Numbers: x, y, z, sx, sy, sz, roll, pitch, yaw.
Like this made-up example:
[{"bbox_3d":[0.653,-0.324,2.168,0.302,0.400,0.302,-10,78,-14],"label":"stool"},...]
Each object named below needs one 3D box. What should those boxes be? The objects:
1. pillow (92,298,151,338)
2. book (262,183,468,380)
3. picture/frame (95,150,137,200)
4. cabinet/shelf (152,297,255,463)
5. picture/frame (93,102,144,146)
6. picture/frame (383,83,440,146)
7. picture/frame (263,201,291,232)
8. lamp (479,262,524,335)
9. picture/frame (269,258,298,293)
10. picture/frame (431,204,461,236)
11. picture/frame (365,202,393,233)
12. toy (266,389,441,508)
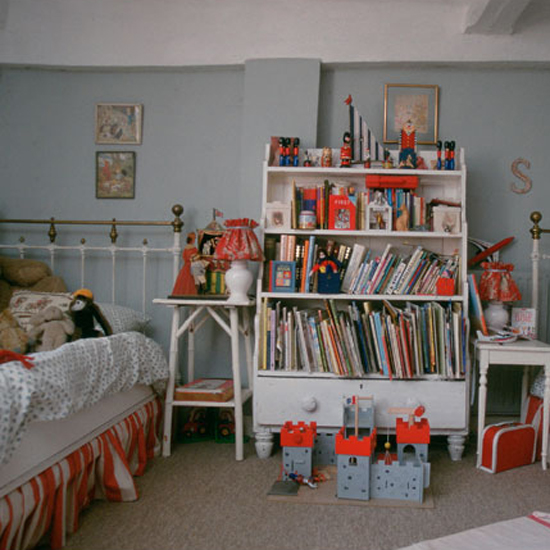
[{"bbox_3d":[-0.782,0.225,3.030,0.168,0.063,0.199,29,-2,0],"label":"pillow"},{"bbox_3d":[0.440,0.042,2.895,0.773,0.897,0.292,1,-4,3],"label":"book"},{"bbox_3d":[-0.911,-0.578,3.347,0.226,0.320,0.029,0,-1,-2],"label":"picture/frame"},{"bbox_3d":[-0.254,0.501,3.303,0.606,1.163,0.683,0,0,7],"label":"cabinet/shelf"},{"bbox_3d":[-0.891,-0.873,3.350,0.202,0.217,0.030,0,-3,4],"label":"picture/frame"},{"bbox_3d":[0.762,-0.892,3.227,0.315,0.409,0.028,1,2,1],"label":"picture/frame"},{"bbox_3d":[0.010,-0.302,2.962,0.142,0.236,0.116,0,0,0],"label":"picture/frame"},{"bbox_3d":[1.174,0.091,3.062,0.197,0.339,0.349,2,6,21],"label":"lamp"},{"bbox_3d":[0.038,0.002,2.799,0.125,0.212,0.136,1,-1,4],"label":"picture/frame"},{"bbox_3d":[0.858,-0.277,2.925,0.117,0.139,0.130,0,0,6],"label":"picture/frame"},{"bbox_3d":[0.518,-0.288,2.923,0.128,0.181,0.011,1,-5,-5],"label":"picture/frame"},{"bbox_3d":[0.369,0.768,2.531,0.431,0.337,0.484,-1,3,7],"label":"toy"}]
